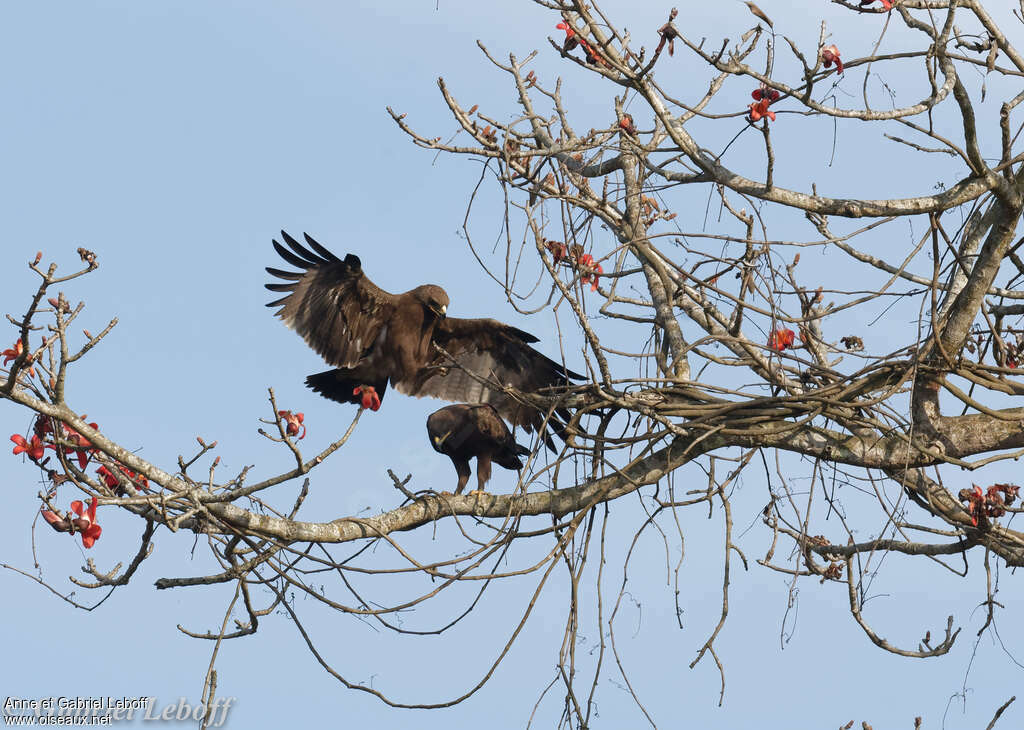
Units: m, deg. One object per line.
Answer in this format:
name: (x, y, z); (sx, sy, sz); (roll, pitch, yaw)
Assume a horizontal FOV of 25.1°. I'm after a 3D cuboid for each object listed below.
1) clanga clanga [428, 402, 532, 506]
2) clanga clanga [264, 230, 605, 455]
clanga clanga: (-0.145, 0.435, 12.155); (0.350, 0.875, 0.500); (-8, -94, 35)
clanga clanga: (-0.647, -0.168, 12.585); (1.951, 0.734, 0.967); (19, -96, -33)
